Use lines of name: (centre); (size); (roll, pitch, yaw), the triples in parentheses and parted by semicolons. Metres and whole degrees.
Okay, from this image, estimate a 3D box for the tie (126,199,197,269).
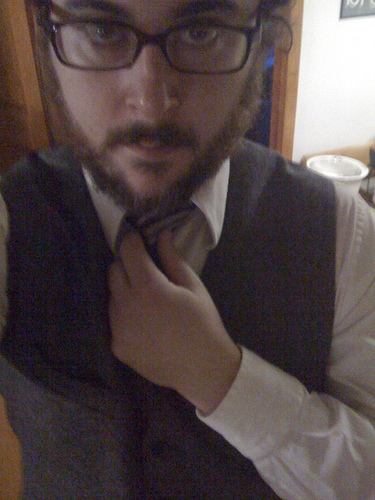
tie: (-0.020, -0.020, 0.478); (0.067, 0.054, 0.026); (-23, 52, -15)
